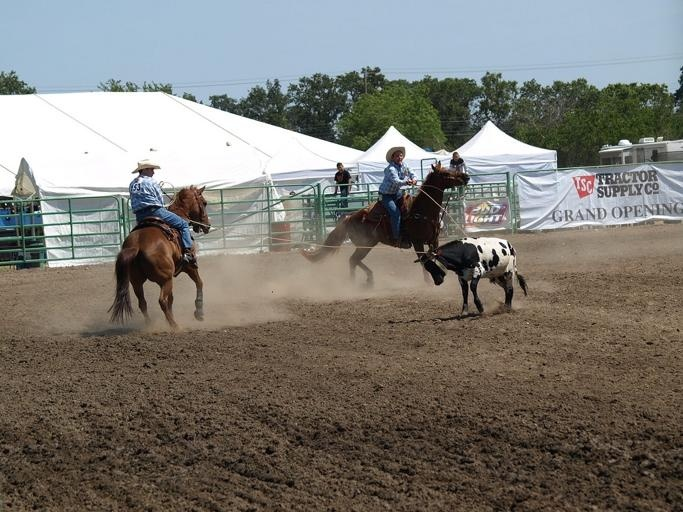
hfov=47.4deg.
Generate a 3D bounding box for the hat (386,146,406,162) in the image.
[{"bbox_3d":[0.971,-1.852,14.172,0.343,0.273,0.348,0,10,13],"label":"hat"}]

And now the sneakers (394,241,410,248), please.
[{"bbox_3d":[1.149,-0.208,14.727,0.217,0.232,0.141,-5,-1,40],"label":"sneakers"}]

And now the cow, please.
[{"bbox_3d":[2.136,0.275,12.098,1.992,1.223,0.549,1,3,-22],"label":"cow"}]

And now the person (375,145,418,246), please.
[{"bbox_3d":[1.028,-1.062,14.332,0.611,1.888,0.780,-3,9,-6],"label":"person"}]

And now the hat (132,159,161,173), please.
[{"bbox_3d":[-3.125,-1.424,12.421,0.389,0.170,0.345,-13,1,-20],"label":"hat"}]

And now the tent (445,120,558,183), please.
[{"bbox_3d":[7.092,-4.330,33.263,4.913,2.190,5.074,-2,1,37],"label":"tent"}]
